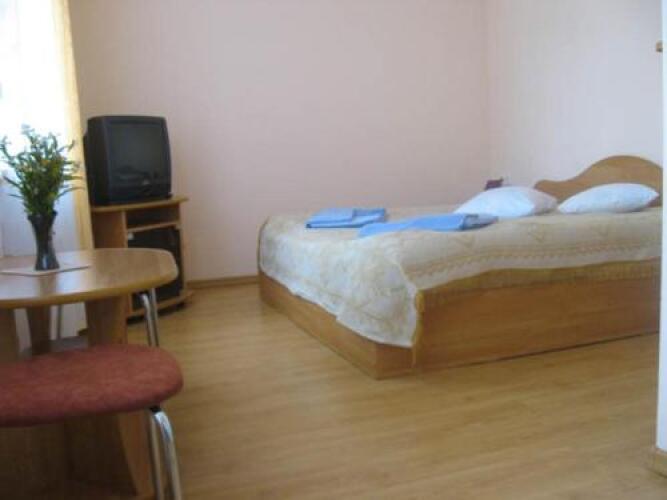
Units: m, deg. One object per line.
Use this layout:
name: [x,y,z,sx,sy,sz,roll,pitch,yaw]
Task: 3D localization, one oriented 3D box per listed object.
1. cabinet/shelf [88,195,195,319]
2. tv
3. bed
cabinet/shelf: [-1.092,0.016,3.096,0.407,0.698,0.736,11,16,39]
tv: [-1.415,-0.636,3.975,0.630,0.657,0.597,5,8,43]
bed: [0.780,0.138,3.097,1.955,0.851,1.452,-6,12,-25]
